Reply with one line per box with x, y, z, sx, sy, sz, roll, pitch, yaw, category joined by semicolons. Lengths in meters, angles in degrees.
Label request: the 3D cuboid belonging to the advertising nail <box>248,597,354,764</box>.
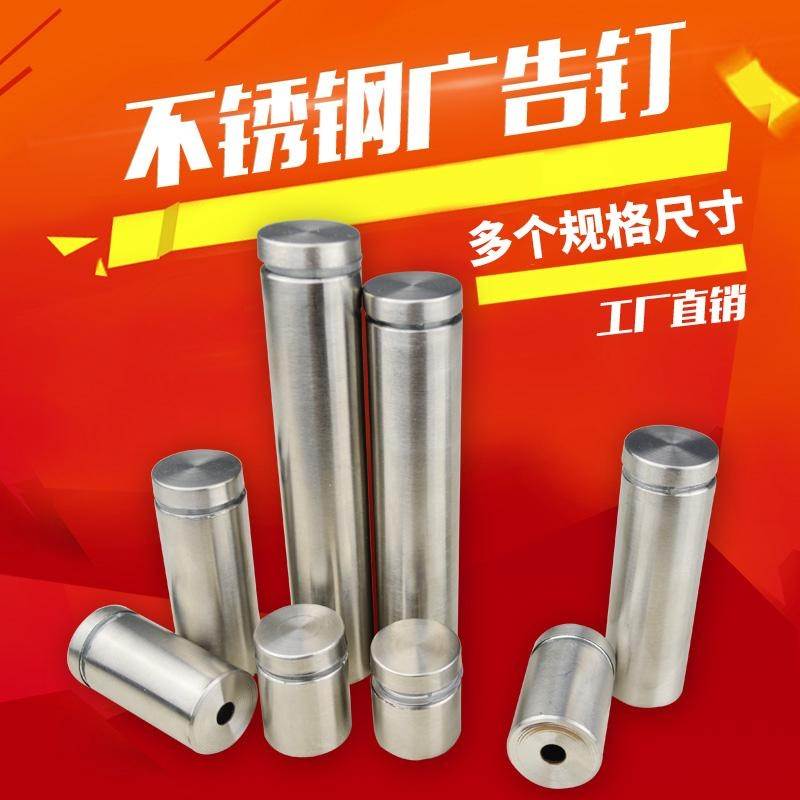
-0.196;0.564;1.853;0.185;0.269;0.214;-6;30;-4;advertising nail

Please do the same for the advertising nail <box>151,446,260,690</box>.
-0.361;0.373;1.976;0.217;0.512;0.232;20;40;31;advertising nail

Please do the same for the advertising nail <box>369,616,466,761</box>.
0.035;0.568;1.869;0.253;0.238;0.214;12;23;22;advertising nail

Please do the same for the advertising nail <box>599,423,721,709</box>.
0.546;0.356;1.928;0.183;0.595;0.295;6;33;17;advertising nail
